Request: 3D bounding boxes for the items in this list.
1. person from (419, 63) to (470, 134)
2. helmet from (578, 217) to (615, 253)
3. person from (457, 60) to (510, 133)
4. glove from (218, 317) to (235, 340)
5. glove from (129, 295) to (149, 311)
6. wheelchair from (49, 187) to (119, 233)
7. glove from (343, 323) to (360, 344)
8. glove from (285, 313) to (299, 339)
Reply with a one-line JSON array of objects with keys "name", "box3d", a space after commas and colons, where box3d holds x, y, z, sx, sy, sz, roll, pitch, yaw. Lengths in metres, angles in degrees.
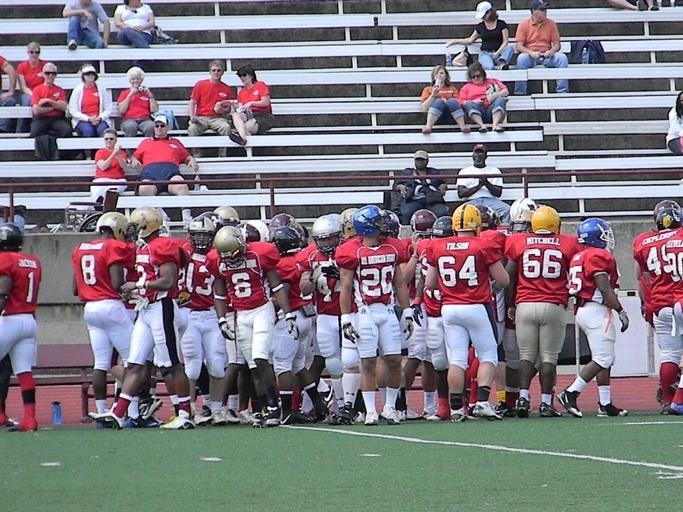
[{"name": "person", "box3d": [1.599, -2.520, 28.735, 0.741, 1.353, 1.057, -1, -5, -2]}, {"name": "helmet", "box3d": [3.345, -0.311, 23.697, 0.476, 0.449, 0.389, -1, 7, -10]}, {"name": "person", "box3d": [2.259, -2.524, 28.612, 0.756, 1.083, 0.641, -3, -5, 3]}, {"name": "glove", "box3d": [-1.470, 0.918, 23.071, 0.201, 0.297, 0.250, -2, -5, -3]}, {"name": "glove", "box3d": [-2.627, 0.600, 23.147, 0.175, 0.226, 0.457, 0, -6, -23]}, {"name": "wheelchair", "box3d": [-3.724, -0.630, 26.847, 0.804, 0.813, 0.912, 2, 0, 20]}, {"name": "glove", "box3d": [0.122, 0.985, 22.756, 0.102, 0.230, 0.165, -31, 25, 5]}, {"name": "glove", "box3d": [-0.634, 0.884, 23.061, 0.158, 0.334, 0.274, -2, -5, -2]}]
